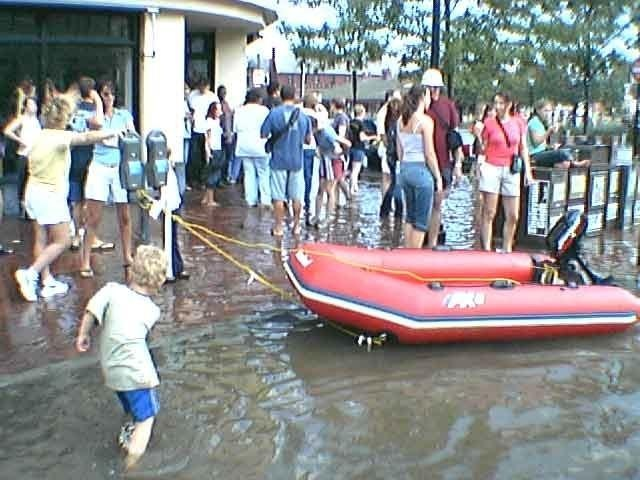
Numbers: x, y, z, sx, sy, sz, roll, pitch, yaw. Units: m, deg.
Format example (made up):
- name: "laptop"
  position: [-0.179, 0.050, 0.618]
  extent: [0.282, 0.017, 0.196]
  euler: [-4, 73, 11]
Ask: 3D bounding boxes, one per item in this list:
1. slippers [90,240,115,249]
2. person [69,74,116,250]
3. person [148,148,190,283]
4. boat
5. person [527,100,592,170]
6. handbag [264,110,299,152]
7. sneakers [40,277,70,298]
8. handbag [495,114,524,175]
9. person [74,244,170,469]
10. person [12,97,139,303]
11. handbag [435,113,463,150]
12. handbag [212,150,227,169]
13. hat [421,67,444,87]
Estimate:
- name: "slippers"
  position: [-2.901, 0.049, 8.867]
  extent: [0.297, 0.095, 0.121]
  euler: [11, 20, -16]
- name: "person"
  position: [-2.835, -0.891, 8.149]
  extent: [0.506, 2.117, 0.617]
  euler: [4, 9, -3]
- name: "person"
  position: [-1.708, -0.297, 7.542]
  extent: [0.402, 1.546, 0.886]
  euler: [-1, 7, -10]
- name: "boat"
  position: [1.352, 0.660, 6.802]
  extent: [3.027, 1.487, 1.625]
  euler: [0, 14, -11]
- name: "person"
  position: [3.431, -1.603, 9.937]
  extent: [0.804, 0.961, 1.139]
  euler: [0, 8, -6]
- name: "handbag"
  position: [-0.527, -1.554, 9.368]
  extent: [0.547, 0.136, 0.413]
  euler: [-50, 0, 1]
- name: "sneakers"
  position: [-2.892, 0.508, 7.217]
  extent: [0.143, 0.159, 0.312]
  euler: [-27, -9, 29]
- name: "handbag"
  position: [2.391, -1.200, 8.347]
  extent: [0.356, 0.693, 0.164]
  euler: [0, 7, -5]
- name: "person"
  position: [-1.395, 0.830, 4.776]
  extent: [0.593, 1.522, 0.366]
  euler: [-2, 7, -17]
- name: "person"
  position: [-2.657, -0.401, 6.751]
  extent: [1.119, 2.162, 0.501]
  euler: [6, 9, 37]
- name: "handbag"
  position: [1.661, -1.373, 8.475]
  extent: [0.105, 0.355, 0.268]
  euler: [-30, 2, 32]
- name: "handbag"
  position: [-1.989, -1.656, 13.229]
  extent: [0.351, 0.435, 0.143]
  euler: [-2, -5, 36]
- name: "hat"
  position: [1.374, -1.993, 8.196]
  extent: [0.244, 0.208, 0.360]
  euler: [3, 14, 0]
